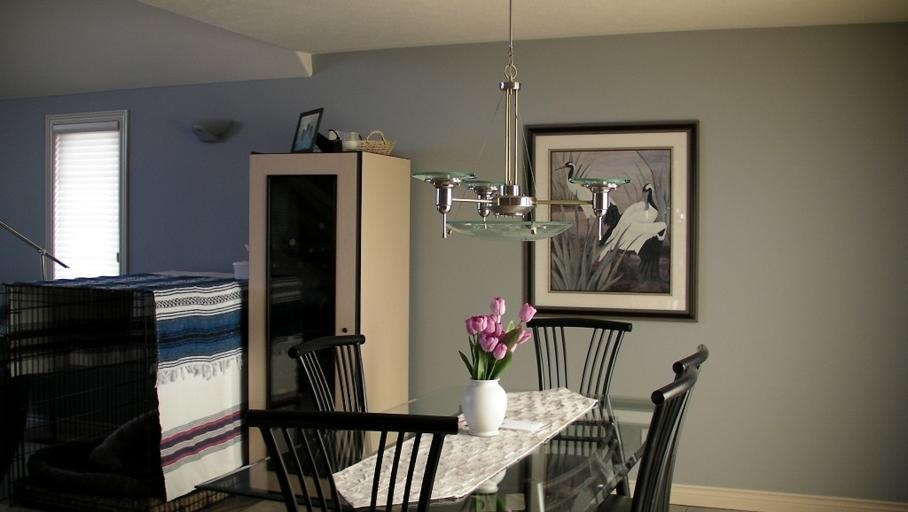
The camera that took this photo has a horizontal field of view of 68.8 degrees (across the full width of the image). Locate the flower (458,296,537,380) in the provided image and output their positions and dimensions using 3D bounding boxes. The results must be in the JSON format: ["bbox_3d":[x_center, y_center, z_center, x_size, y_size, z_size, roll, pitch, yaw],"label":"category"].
[{"bbox_3d":[0.196,0.574,4.161,0.373,0.419,0.370,10,1,23],"label":"flower"}]

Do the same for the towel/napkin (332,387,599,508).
[{"bbox_3d":[0.204,1.047,4.002,0.576,0.026,1.759,3,1,31],"label":"towel/napkin"}]

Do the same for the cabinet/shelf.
[{"bbox_3d":[-1.270,0.437,5.846,0.946,2.671,0.694,5,17,2],"label":"cabinet/shelf"}]

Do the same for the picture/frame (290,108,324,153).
[{"bbox_3d":[-1.257,-1.046,5.642,0.241,0.399,0.508,0,4,-14],"label":"picture/frame"}]

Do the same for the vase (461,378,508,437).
[{"bbox_3d":[0.187,0.945,4.162,0.314,0.333,0.297,2,-5,-19],"label":"vase"}]

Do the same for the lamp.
[{"bbox_3d":[0.611,-0.983,4.681,1.192,1.828,2.194,2,4,13],"label":"lamp"}]

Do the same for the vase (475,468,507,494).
[{"bbox_3d":[0.209,1.259,3.687,0.103,0.069,0.097,-2,-3,-22],"label":"vase"}]
